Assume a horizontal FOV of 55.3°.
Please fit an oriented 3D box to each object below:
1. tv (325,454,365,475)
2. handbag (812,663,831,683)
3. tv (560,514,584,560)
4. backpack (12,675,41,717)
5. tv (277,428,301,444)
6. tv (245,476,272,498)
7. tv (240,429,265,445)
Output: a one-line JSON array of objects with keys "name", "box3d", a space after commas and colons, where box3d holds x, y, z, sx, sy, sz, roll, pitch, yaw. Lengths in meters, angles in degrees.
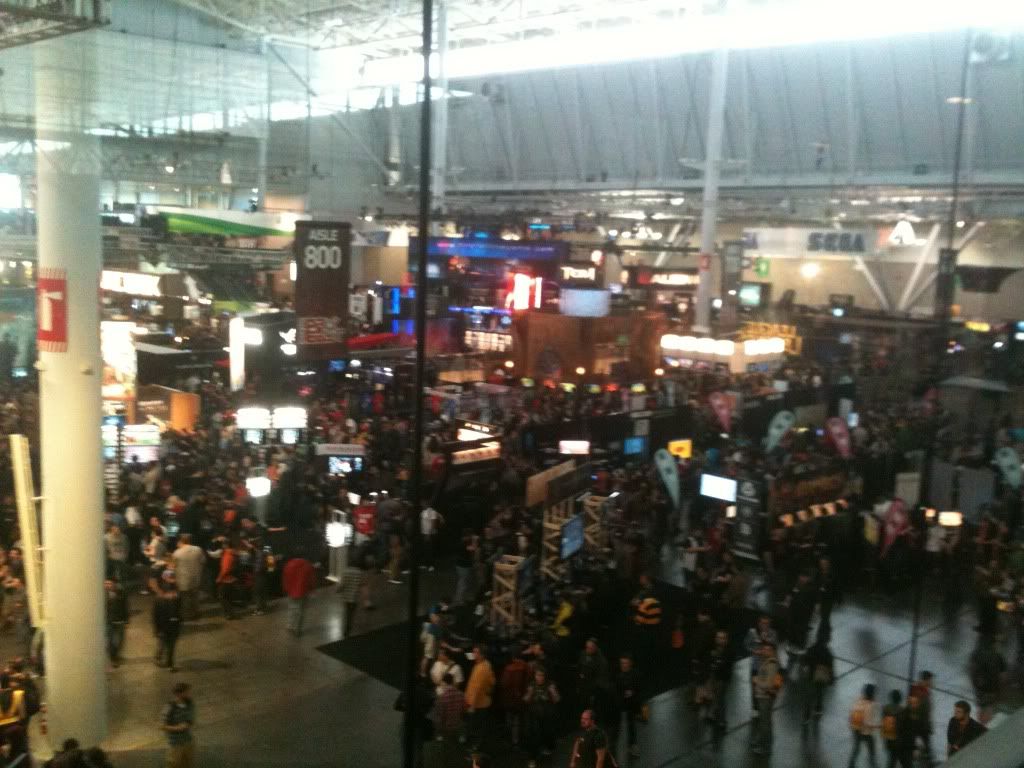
[{"name": "tv", "box3d": [-3.770, 1.842, 22.096, 0.857, 0.431, 0.413, 0, 2, -6]}, {"name": "handbag", "box3d": [4.911, 4.577, 15.546, 0.375, 0.228, 0.343, -2, 7, 4]}, {"name": "tv", "box3d": [1.134, 2.935, 18.684, 0.099, 0.788, 0.970, 6, 7, 32]}, {"name": "backpack", "box3d": [-6.859, 4.411, 13.884, 0.203, 0.693, 0.430, -4, 10, -1]}, {"name": "tv", "box3d": [-5.289, 1.247, 23.421, 0.423, 0.336, 0.395, -2, 6, -18]}, {"name": "tv", "box3d": [-5.202, 2.133, 20.349, 0.530, 0.299, 0.483, 0, 4, 12]}, {"name": "tv", "box3d": [-6.078, 1.231, 23.126, 0.577, 0.440, 0.365, 2, 11, -8]}]
